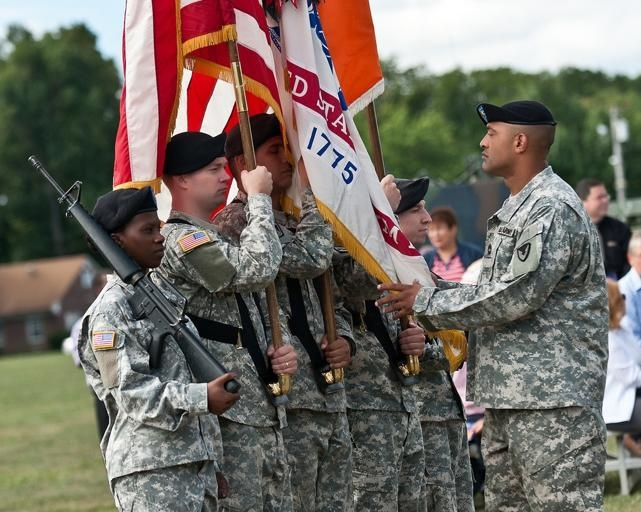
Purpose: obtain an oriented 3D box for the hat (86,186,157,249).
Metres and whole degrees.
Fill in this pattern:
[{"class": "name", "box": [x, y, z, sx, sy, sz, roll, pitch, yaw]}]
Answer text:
[{"class": "hat", "box": [-1.333, -0.313, 8.603, 0.400, 0.214, 0.344, -24, 20, 16]}]
